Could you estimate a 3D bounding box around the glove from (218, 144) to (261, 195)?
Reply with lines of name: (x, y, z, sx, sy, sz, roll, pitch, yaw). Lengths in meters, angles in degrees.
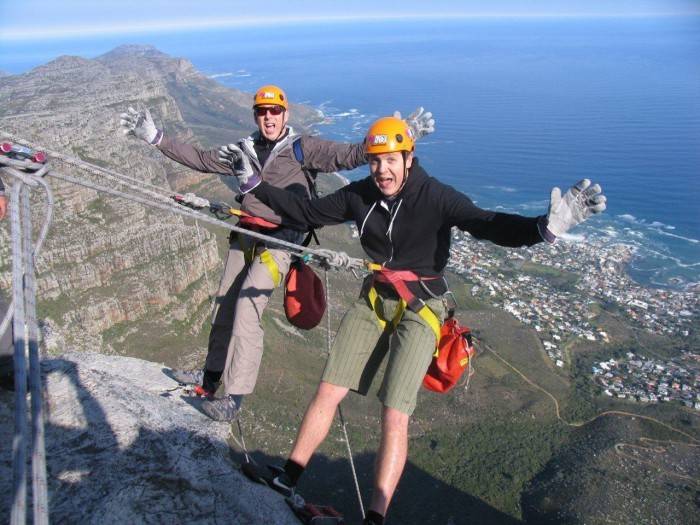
glove: (-1.419, -1.255, 6.170, 0.701, 0.427, 0.317, 60, 24, 8)

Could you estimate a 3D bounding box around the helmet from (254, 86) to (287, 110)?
helmet: (-1.218, -2.525, 7.270, 0.484, 0.319, 0.639, -2, 34, -11)

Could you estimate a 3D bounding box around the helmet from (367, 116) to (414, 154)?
helmet: (0.509, -1.548, 5.812, 0.561, 0.424, 0.396, -16, 17, -30)
